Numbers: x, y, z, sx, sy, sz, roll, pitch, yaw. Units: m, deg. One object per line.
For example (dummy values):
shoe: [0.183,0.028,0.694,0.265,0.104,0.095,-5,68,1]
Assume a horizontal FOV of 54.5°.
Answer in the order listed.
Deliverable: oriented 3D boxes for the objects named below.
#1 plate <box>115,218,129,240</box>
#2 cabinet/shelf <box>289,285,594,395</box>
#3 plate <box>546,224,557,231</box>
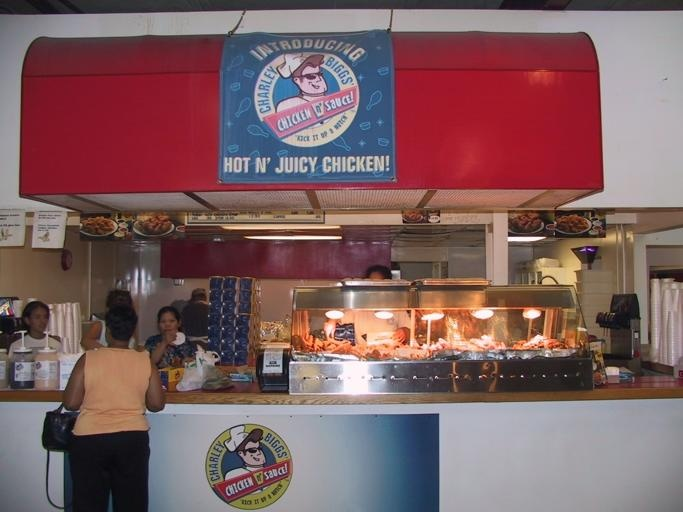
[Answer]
plate: [-2.285,-0.283,6.969,0.152,0.205,0.069,-2,-5,-13]
cabinet/shelf: [0.744,0.615,5.112,2.272,0.774,0.443,-1,13,-2]
plate: [2.055,-0.279,6.518,0.101,0.072,0.027,-4,13,-15]
